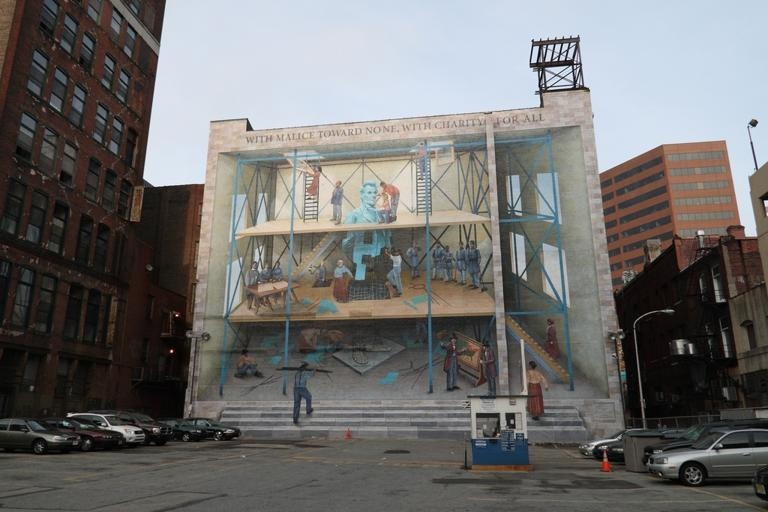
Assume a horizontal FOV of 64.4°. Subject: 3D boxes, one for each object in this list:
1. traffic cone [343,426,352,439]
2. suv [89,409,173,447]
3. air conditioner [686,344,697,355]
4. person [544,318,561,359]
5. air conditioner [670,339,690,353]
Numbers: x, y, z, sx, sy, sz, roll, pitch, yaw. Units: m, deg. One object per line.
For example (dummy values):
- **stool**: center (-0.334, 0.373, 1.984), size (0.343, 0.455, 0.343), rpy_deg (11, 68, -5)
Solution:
- **traffic cone**: center (-2.611, 12.738, 43.494), size (0.768, 0.761, 0.610), rpy_deg (3, -3, -5)
- **suv**: center (-14.560, 10.451, 37.355), size (4.522, 1.451, 1.790), rpy_deg (1, -4, 4)
- **air conditioner**: center (22.982, 6.970, 45.576), size (0.824, 0.936, 0.425), rpy_deg (4, -9, -22)
- **person**: center (13.341, 6.594, 48.720), size (1.127, 3.271, 1.302), rpy_deg (-2, -9, 18)
- **air conditioner**: center (22.333, 6.862, 46.215), size (1.182, 0.762, 1.095), rpy_deg (0, -8, -5)
